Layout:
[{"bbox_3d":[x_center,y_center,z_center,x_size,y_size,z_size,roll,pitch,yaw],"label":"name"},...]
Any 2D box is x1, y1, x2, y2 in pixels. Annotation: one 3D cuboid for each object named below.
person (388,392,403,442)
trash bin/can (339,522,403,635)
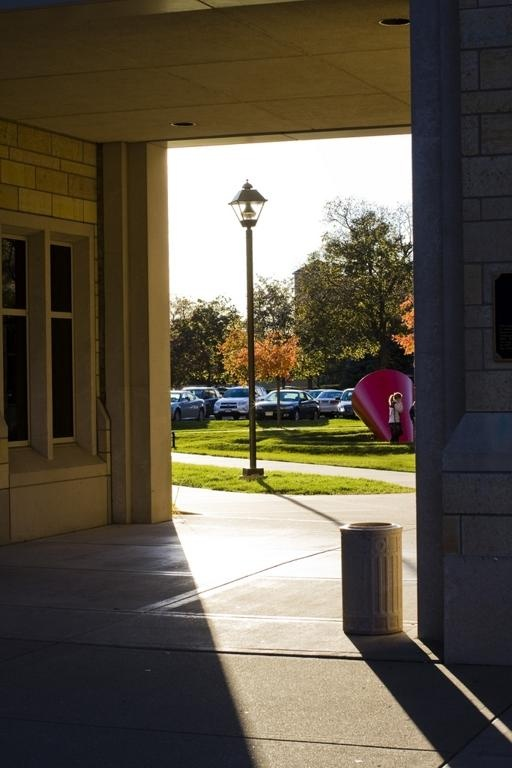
[{"bbox_3d":[3.762,0.906,25.037,0.348,1.468,1.753,-1,3,9],"label":"person"},{"bbox_3d":[0.738,1.239,5.918,0.371,0.681,0.179,-1,3,5],"label":"trash bin/can"}]
